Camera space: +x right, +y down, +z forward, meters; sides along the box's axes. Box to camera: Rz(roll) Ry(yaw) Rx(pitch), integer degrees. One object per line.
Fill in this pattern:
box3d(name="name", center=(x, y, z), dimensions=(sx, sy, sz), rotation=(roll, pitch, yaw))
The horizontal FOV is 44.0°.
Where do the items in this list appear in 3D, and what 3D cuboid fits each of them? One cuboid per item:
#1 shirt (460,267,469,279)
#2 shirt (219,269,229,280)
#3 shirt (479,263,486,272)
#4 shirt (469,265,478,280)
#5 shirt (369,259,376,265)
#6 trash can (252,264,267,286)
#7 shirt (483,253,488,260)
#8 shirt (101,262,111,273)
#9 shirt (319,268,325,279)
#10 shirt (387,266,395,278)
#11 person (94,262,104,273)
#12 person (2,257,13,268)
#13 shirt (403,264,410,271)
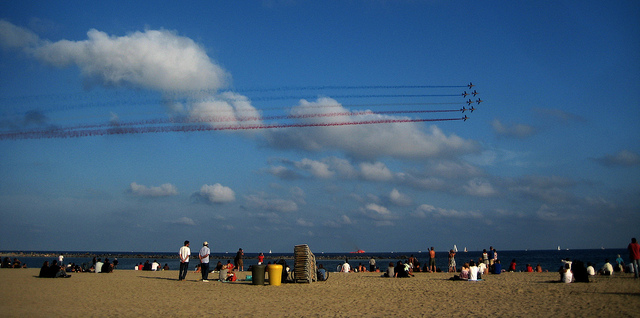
box3d(name="shirt", center=(20.958, 16.513, 113.948), dimensions=(1.723, 1.480, 0.980), rotation=(-2, -18, 15))
box3d(name="shirt", center=(-13.898, 16.651, 114.157), dimensions=(1.093, 1.580, 1.072), rotation=(-1, 4, -13))
box3d(name="shirt", center=(24.289, 16.094, 117.302), dimensions=(0.613, 1.055, 0.883), rotation=(-1, 1, 13))
box3d(name="shirt", center=(22.007, 16.285, 112.974), dimensions=(1.075, 1.925, 0.830), rotation=(1, 4, 10))
box3d(name="shirt", center=(8.837, 17.060, 131.424), dimensions=(1.325, 0.892, 0.696), rotation=(3, -24, -28))
box3d(name="trash can", center=(-8.438, 16.261, 111.552), dimensions=(2.041, 2.771, 1.422), rotation=(0, 4, -2))
box3d(name="shirt", center=(25.721, 15.187, 122.629), dimensions=(0.985, 1.145, 0.665), rotation=(0, -36, 5))
box3d(name="shirt", center=(-32.944, 16.733, 121.787), dimensions=(0.408, 1.393, 1.634), rotation=(14, -10, -34))
box3d(name="shirt", center=(0.410, 16.736, 116.057), dimensions=(0.275, 1.063, 1.144), rotation=(-30, -23, 29))
box3d(name="shirt", center=(10.750, 16.904, 118.685), dimensions=(1.025, 1.487, 1.026), rotation=(0, 4, -1))
box3d(name="person", center=(-34.152, 16.648, 121.930), dimensions=(1.002, 1.639, 1.520), rotation=(0, 4, -3))
box3d(name="person", center=(-51.728, 17.217, 131.075), dimensions=(1.427, 1.775, 0.654), rotation=(5, -10, 3))
box3d(name="shirt", center=(13.091, 16.302, 118.688), dimensions=(1.279, 1.060, 0.254), rotation=(0, -3, -8))
